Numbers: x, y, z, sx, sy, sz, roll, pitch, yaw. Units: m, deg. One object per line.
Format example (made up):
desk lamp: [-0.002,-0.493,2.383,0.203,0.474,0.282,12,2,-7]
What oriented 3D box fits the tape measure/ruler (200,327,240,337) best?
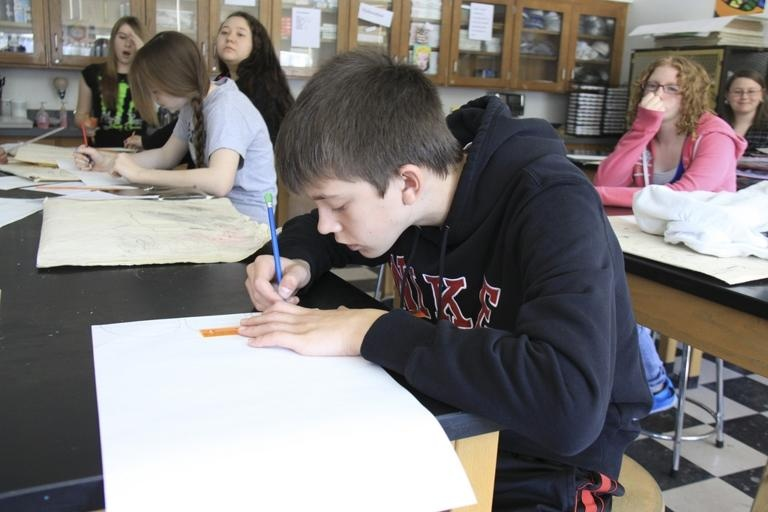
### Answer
tape measure/ruler: [-0.276,0.128,0.909,0.041,0.005,0.022,-3,12,-22]

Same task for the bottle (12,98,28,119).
bottle: [-2.634,-1.057,3.917,0.123,0.128,0.122,-1,6,-6]

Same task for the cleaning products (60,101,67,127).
cleaning products: [-2.407,-1.056,4.066,0.057,0.158,0.149,-8,19,-29]
